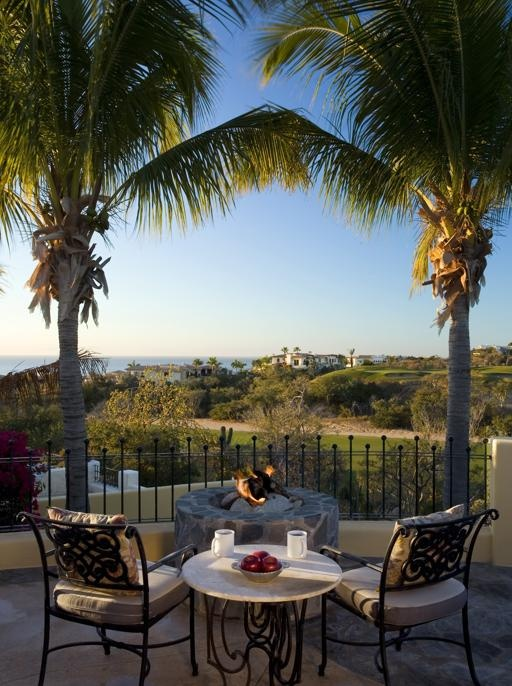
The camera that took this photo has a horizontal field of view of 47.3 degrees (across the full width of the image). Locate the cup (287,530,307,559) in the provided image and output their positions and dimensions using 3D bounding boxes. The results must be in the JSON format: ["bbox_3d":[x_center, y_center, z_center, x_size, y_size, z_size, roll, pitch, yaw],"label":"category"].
[{"bbox_3d":[0.227,1.134,3.271,0.093,0.118,0.150,1,1,-2],"label":"cup"}]

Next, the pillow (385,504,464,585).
[{"bbox_3d":[0.901,1.087,3.084,0.329,0.371,0.527,0,0,35],"label":"pillow"}]

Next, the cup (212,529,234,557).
[{"bbox_3d":[-0.178,1.145,3.353,0.091,0.113,0.151,1,-1,19],"label":"cup"}]

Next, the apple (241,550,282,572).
[{"bbox_3d":[0.029,1.107,2.951,0.140,0.067,0.140,5,-5,-19],"label":"apple"}]

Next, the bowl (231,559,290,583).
[{"bbox_3d":[0.017,1.149,2.986,0.290,0.082,0.321,0,0,2],"label":"bowl"}]
